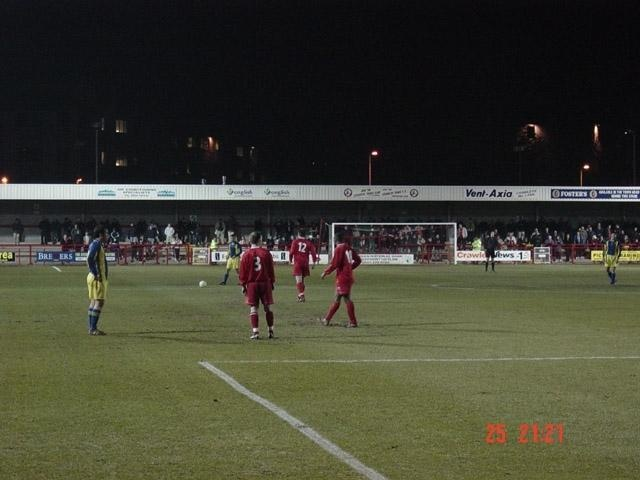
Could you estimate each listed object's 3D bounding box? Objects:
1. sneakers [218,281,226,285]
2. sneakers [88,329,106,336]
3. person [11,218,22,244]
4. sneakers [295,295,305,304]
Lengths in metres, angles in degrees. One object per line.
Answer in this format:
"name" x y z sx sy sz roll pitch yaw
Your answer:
"sneakers" -3.423 1.496 32.648 0.304 0.126 0.097 6 -1 36
"sneakers" -4.392 1.814 18.539 0.318 0.145 0.110 0 0 -7
"person" -17.530 -0.550 54.717 0.618 1.465 1.355 -2 6 -18
"sneakers" -0.551 1.616 25.690 0.206 0.283 0.590 1 -1 -7
